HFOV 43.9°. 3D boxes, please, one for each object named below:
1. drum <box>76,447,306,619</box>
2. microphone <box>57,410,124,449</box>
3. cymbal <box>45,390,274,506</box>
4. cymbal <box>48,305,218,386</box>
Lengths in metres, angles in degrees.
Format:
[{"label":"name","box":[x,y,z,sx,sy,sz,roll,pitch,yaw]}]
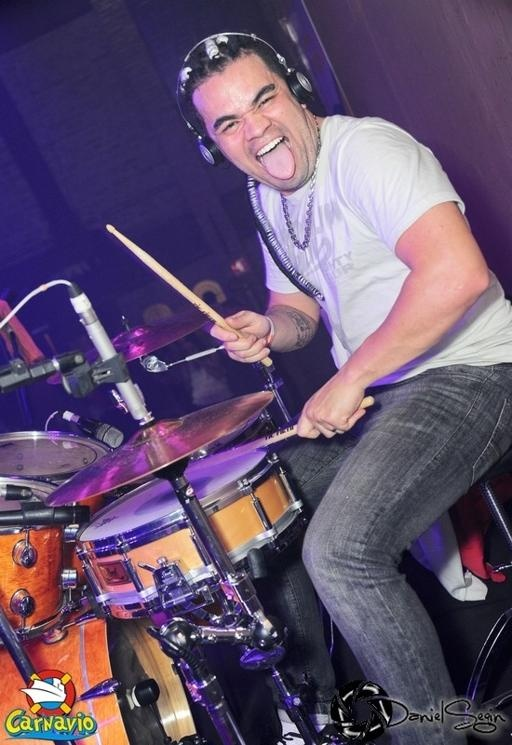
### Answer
[{"label":"drum","box":[-0.170,0.383,1.517,0.515,0.172,0.485,-23,11,5]},{"label":"microphone","box":[-0.616,0.212,2.335,0.062,0.217,0.063,-65,-19,-16]},{"label":"cymbal","box":[-0.219,0.143,1.385,0.420,0.075,0.409,-31,4,-29]},{"label":"cymbal","box":[-0.355,-0.028,1.978,0.315,0.073,0.310,-14,22,33]}]
